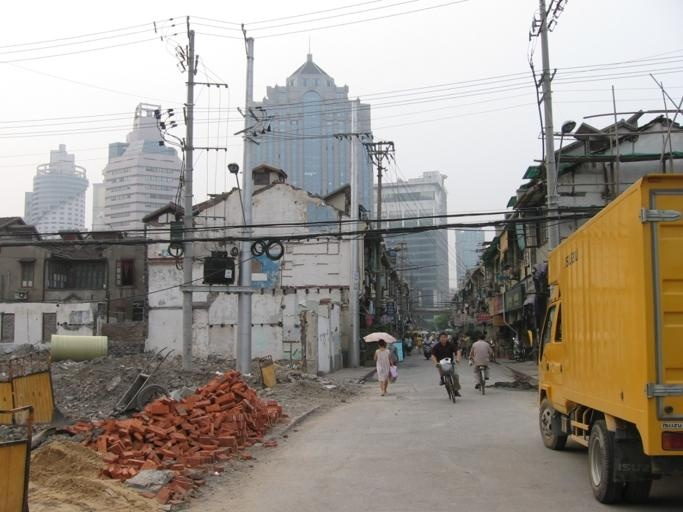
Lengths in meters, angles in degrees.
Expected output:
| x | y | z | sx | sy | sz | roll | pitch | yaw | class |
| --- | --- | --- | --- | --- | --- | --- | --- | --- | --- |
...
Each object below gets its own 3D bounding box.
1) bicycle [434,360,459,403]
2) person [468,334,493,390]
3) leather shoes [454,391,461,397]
| x | y | z | sx | sy | sz | roll | pitch | yaw | class |
| --- | --- | --- | --- | --- | --- | --- | --- | --- | --- |
| 2.798 | 3.318 | 20.649 | 0.572 | 1.128 | 1.055 | -1 | 0 | 7 | bicycle |
| 4.064 | 3.032 | 22.558 | 0.528 | 1.456 | 1.984 | -1 | 14 | 6 | person |
| 3.045 | 3.694 | 20.592 | 0.093 | 0.227 | 0.294 | 0 | 3 | 24 | leather shoes |
